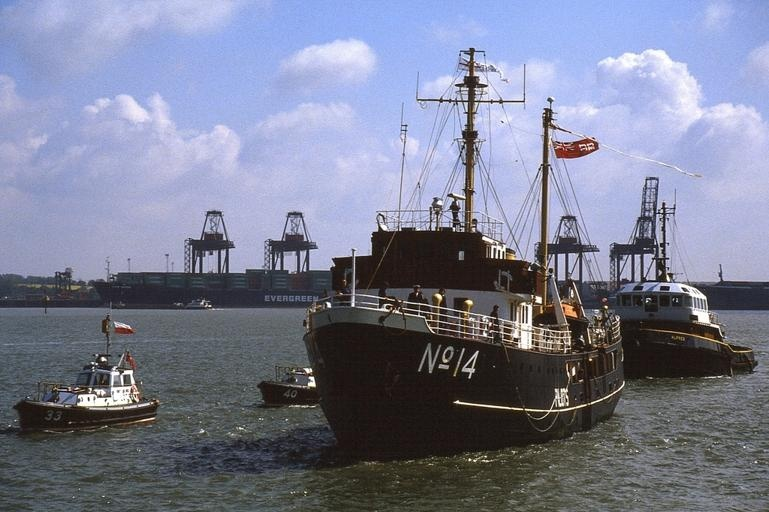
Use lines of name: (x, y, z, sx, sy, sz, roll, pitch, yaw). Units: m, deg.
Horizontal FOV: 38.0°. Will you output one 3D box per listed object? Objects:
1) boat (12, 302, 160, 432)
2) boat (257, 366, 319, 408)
boat: (-22.026, 10.593, 83.421, 9.205, 5.122, 2.059, -5, 11, -30)
boat: (-7.068, 11.189, 93.661, 3.386, 2.638, 6.752, -1, -8, 12)
